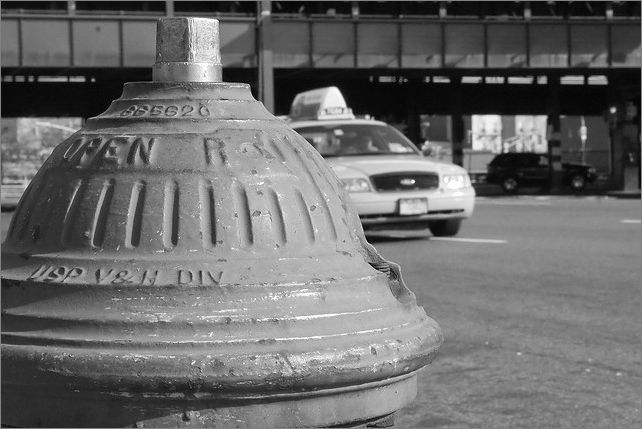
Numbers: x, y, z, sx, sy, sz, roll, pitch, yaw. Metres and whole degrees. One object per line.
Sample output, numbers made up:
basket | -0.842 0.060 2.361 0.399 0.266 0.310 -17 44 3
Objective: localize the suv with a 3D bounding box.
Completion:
suv | 9.052 -1.727 46.623 4.264 1.410 1.896 -3 5 -9
